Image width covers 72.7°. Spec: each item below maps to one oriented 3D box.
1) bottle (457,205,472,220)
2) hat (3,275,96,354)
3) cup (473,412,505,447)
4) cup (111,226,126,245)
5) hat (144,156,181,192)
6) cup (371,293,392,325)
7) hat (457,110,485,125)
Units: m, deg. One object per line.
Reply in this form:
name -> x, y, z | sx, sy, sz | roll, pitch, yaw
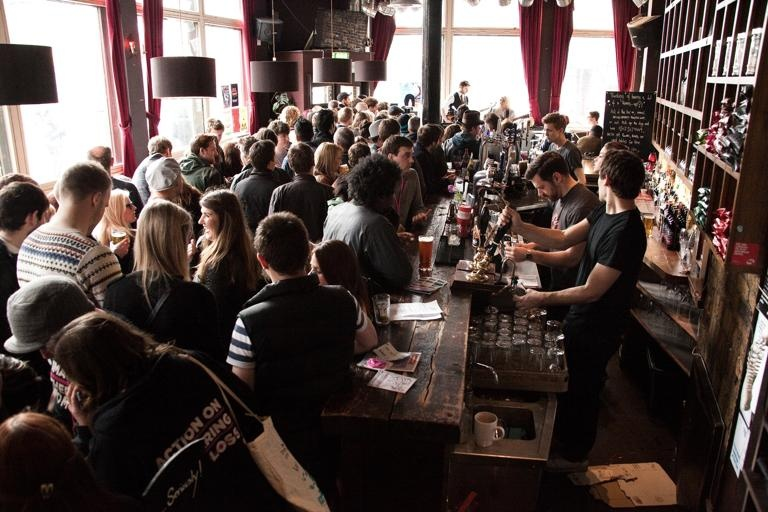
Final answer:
bottle -> 0.634, -0.338, 4.072 | 0.109, 0.104, 0.111 | 1, 22, 1
hat -> -1.471, 0.225, 2.367 | 0.295, 0.206, 0.396 | 8, 32, 33
cup -> 0.565, 0.940, 2.764 | 0.169, 0.133, 0.114 | 10, 7, 39
cup -> -1.807, -0.136, 3.545 | 0.119, 0.092, 0.120 | 4, 8, -1
hat -> -1.761, -0.653, 4.209 | 0.210, 0.303, 0.108 | -10, -22, -1
cup -> -0.010, 0.296, 3.033 | 0.136, 0.220, 0.162 | 2, 5, 6
hat -> 1.162, -1.811, 6.960 | 0.254, 0.113, 0.307 | -2, 7, 3
